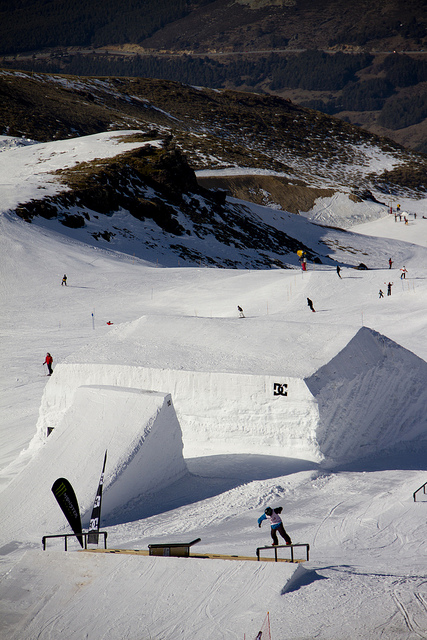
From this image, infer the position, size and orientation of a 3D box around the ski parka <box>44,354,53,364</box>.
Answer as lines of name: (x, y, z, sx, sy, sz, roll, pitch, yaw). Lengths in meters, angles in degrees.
ski parka: (-5.203, 1.238, 36.176, 0.322, 0.434, 0.169, -1, -11, -2)
